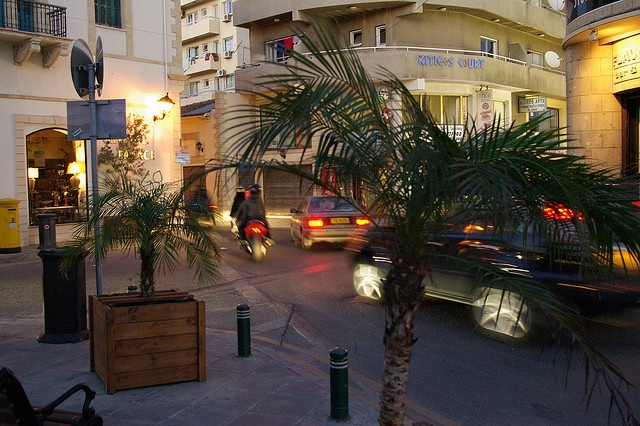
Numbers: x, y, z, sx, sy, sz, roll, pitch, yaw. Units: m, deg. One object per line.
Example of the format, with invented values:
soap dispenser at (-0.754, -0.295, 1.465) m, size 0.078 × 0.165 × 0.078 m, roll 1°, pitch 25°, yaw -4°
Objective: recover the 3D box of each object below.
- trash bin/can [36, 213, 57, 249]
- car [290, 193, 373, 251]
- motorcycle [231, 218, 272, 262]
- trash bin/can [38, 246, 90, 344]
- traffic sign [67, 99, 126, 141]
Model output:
trash bin/can at (-9.459, 0.646, 17.035) m, size 0.567 × 1.156 × 0.687 m, roll -1°, pitch 1°, yaw -6°
car at (0.295, 0.359, 16.383) m, size 2.882 × 1.871 × 1.463 m, roll 1°, pitch 6°, yaw 21°
motorcycle at (-2.369, 0.673, 15.812) m, size 1.077 × 1.581 × 2.591 m, roll -1°, pitch 5°, yaw -27°
trash bin/can at (-4.236, 1.357, 8.077) m, size 0.737 × 1.649 × 0.538 m, roll -3°, pitch 5°, yaw -22°
traffic sign at (-3.764, -1.584, 8.228) m, size 0.885 × 0.681 × 0.093 m, roll -9°, pitch 30°, yaw -33°
